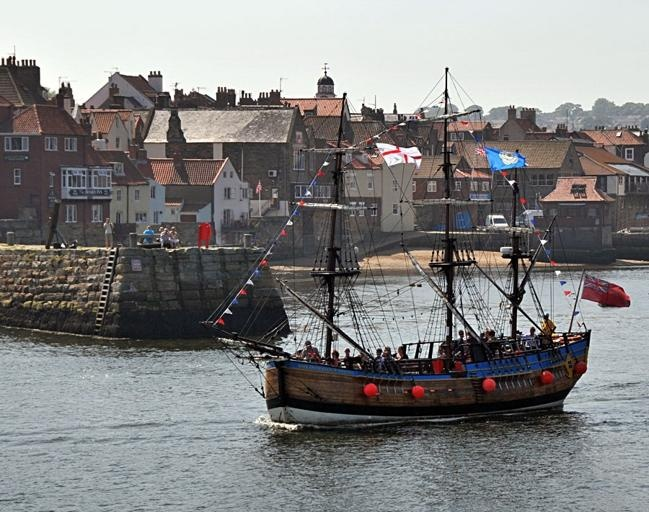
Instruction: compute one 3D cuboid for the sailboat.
[{"bbox_3d":[3.358,-0.369,69.356,22.529,16.747,9.416,0,-2,-38],"label":"sailboat"}]
